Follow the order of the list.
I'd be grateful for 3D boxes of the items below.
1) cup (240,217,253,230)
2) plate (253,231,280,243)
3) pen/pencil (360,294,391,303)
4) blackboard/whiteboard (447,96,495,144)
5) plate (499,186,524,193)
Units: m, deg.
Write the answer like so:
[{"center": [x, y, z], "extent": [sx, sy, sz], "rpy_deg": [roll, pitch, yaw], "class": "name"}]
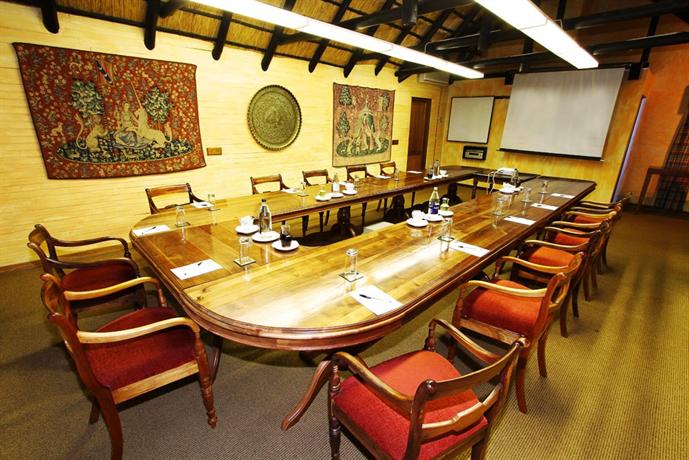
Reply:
[{"center": [-1.121, -0.079, 4.563], "extent": [0.119, 0.101, 0.130], "rpy_deg": [-2, 6, 0], "class": "cup"}, {"center": [-0.848, 0.074, 4.379], "extent": [0.172, 0.028, 0.172], "rpy_deg": [15, 22, 35], "class": "plate"}, {"center": [0.277, 0.617, 3.586], "extent": [0.180, 0.028, 0.018], "rpy_deg": [12, -25, 18], "class": "pen/pencil"}, {"center": [3.254, -2.820, 10.160], "extent": [1.245, 1.157, 0.132], "rpy_deg": [17, 17, 38], "class": "blackboard/whiteboard"}, {"center": [2.524, -0.607, 6.049], "extent": [0.207, 0.040, 0.252], "rpy_deg": [6, 14, 29], "class": "plate"}]
